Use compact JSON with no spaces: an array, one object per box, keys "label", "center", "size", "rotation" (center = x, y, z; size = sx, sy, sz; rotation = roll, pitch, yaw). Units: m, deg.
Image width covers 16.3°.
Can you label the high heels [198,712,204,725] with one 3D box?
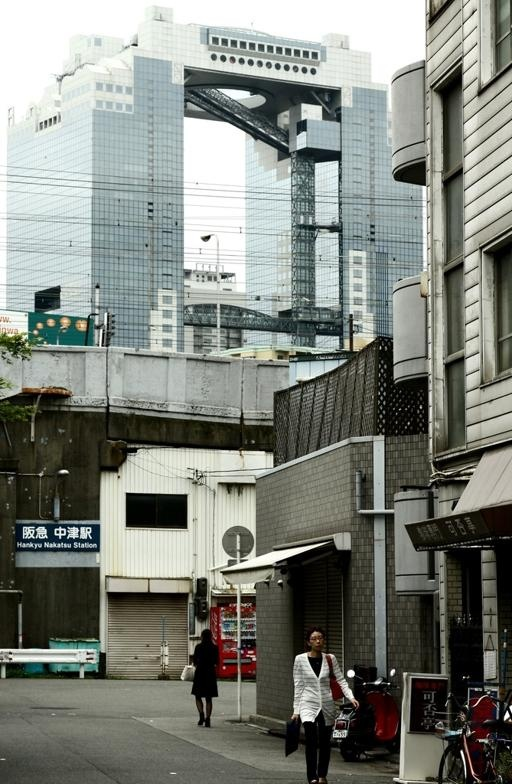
[{"label":"high heels","center":[-0.796,4.579,25.365],"size":[0.103,0.186,0.383],"rotation":[0,-9,-4]}]

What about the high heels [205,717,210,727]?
[{"label":"high heels","center":[-0.695,4.614,25.203],"size":[0.076,0.203,0.094],"rotation":[0,-14,-3]}]

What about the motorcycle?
[{"label":"motorcycle","center":[1.336,3.749,20.776],"size":[0.526,1.235,1.393],"rotation":[-4,-5,27]}]

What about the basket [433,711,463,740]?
[{"label":"basket","center":[1.851,3.188,17.133],"size":[0.335,0.221,0.300],"rotation":[8,-8,-22]}]
